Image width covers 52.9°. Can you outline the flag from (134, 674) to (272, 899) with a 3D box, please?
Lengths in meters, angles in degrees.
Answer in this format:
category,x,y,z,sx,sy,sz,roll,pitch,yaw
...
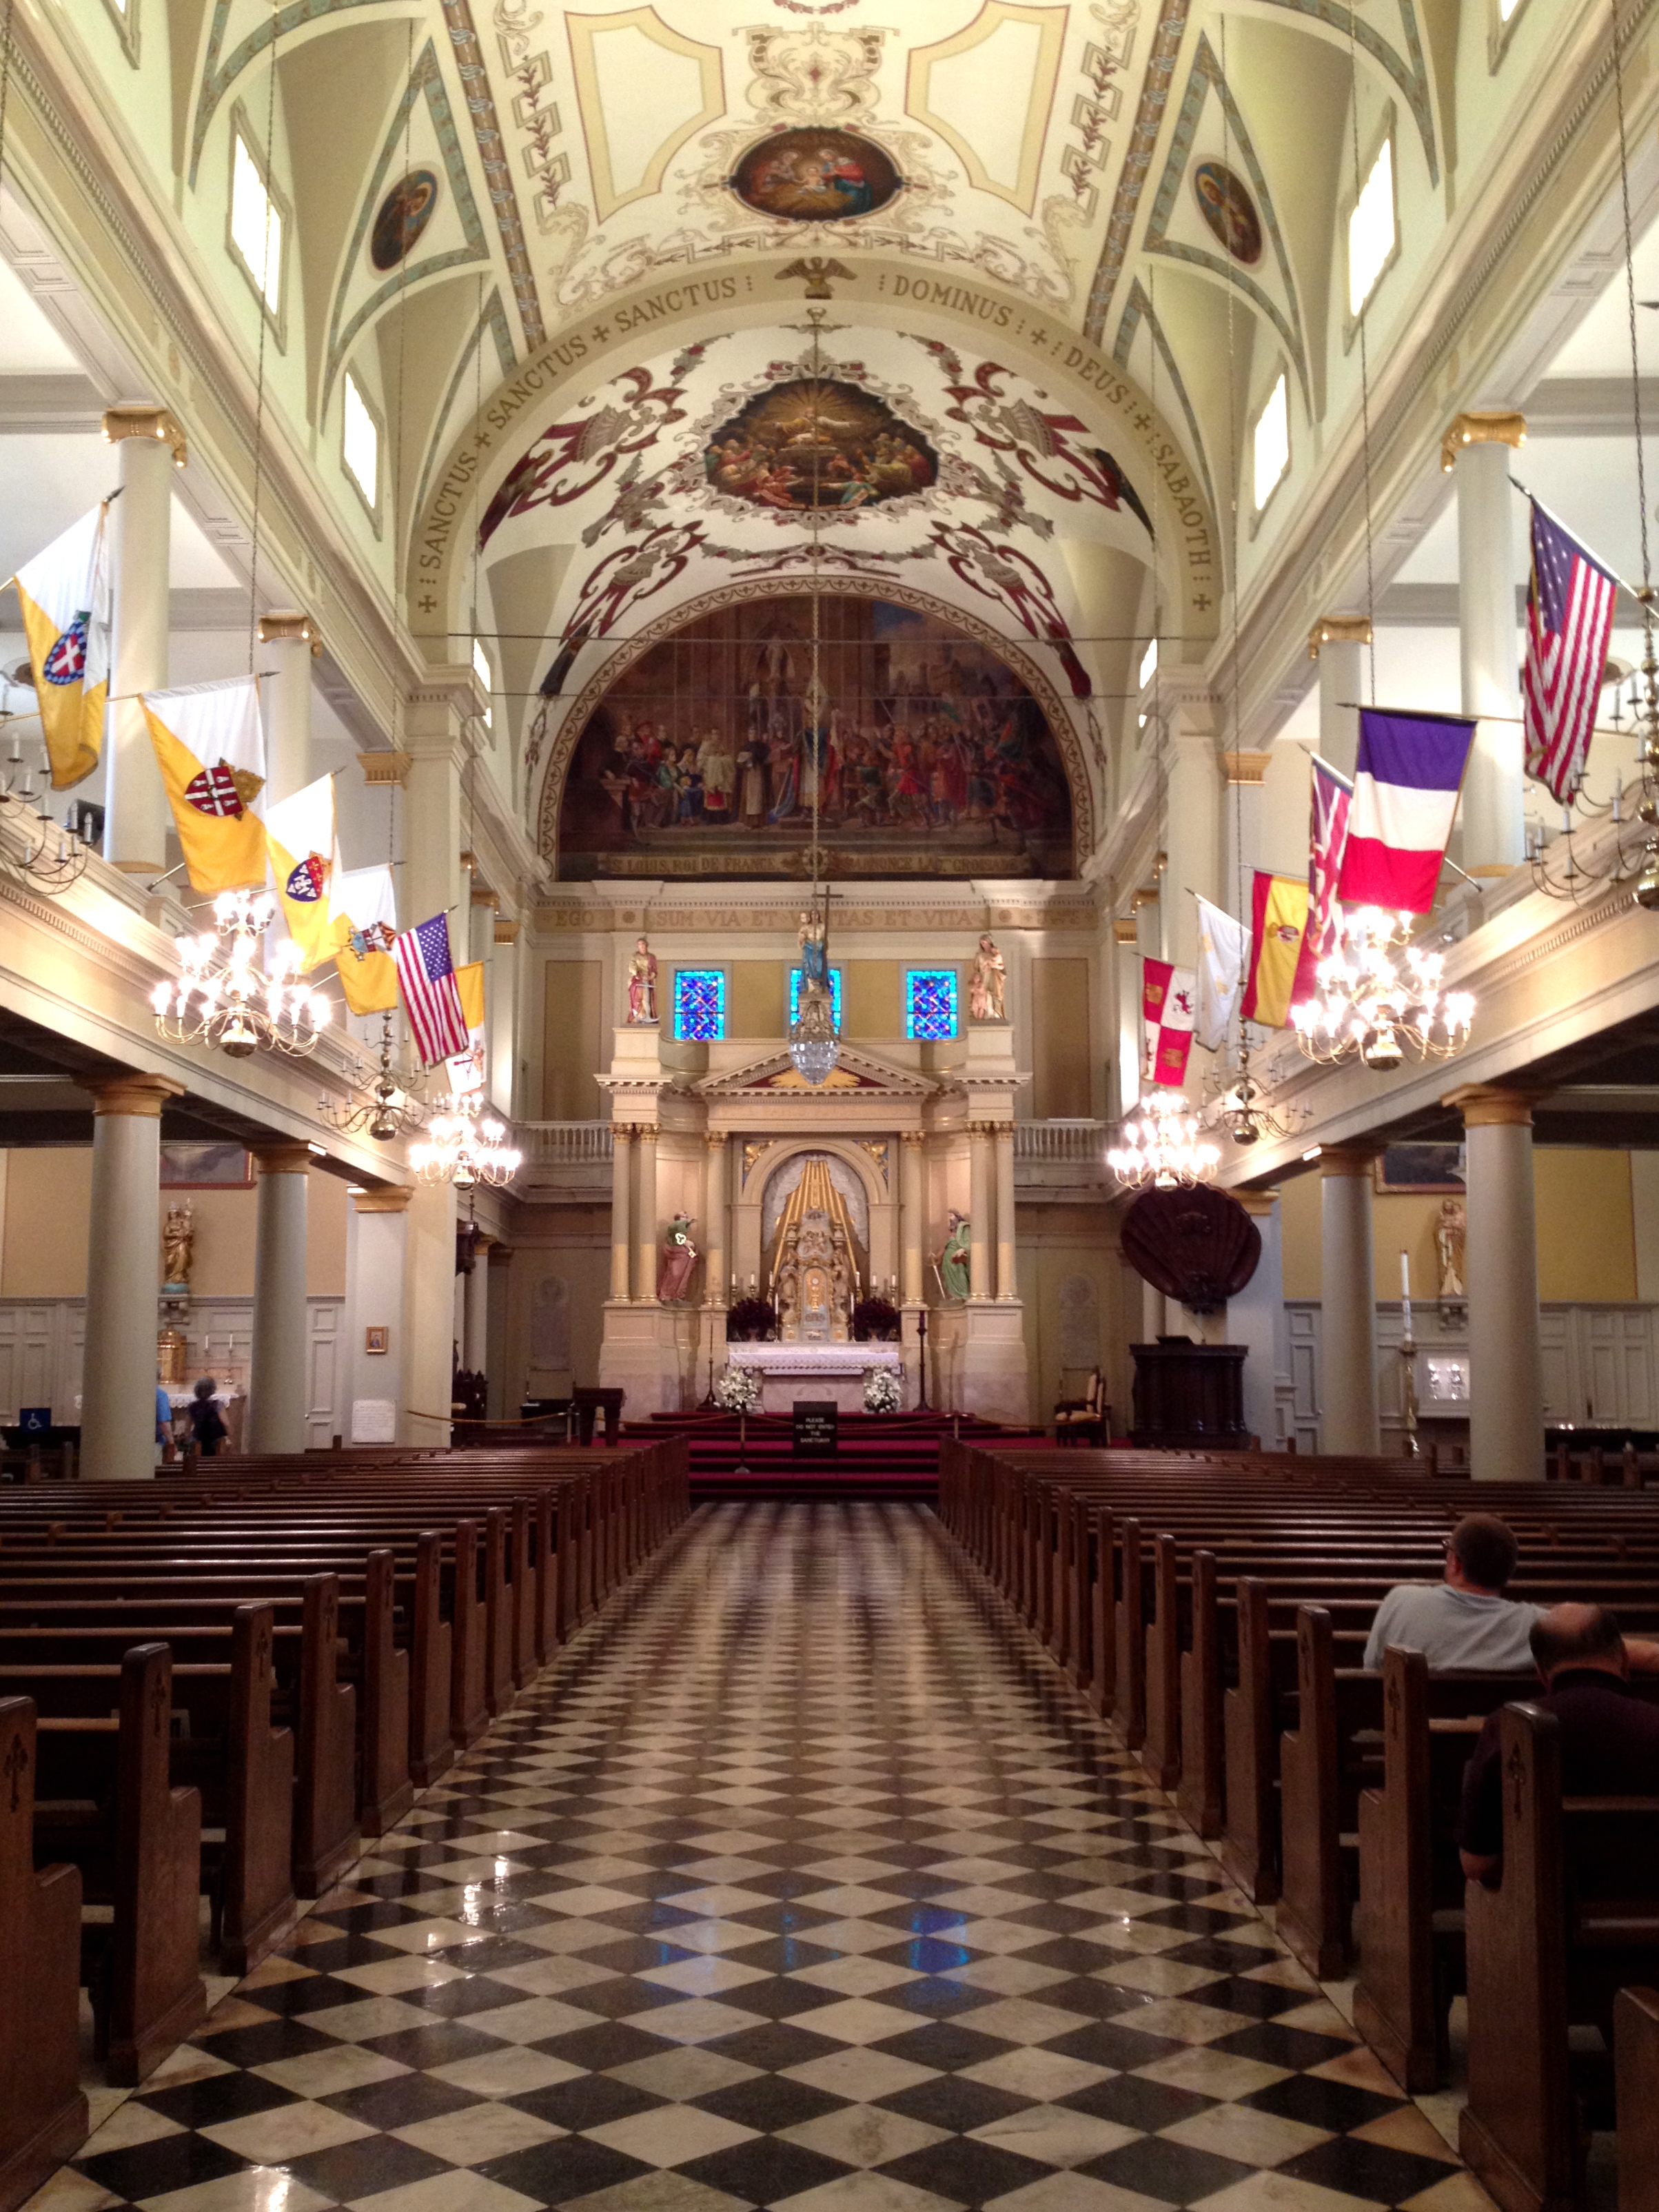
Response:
category,x,y,z,sx,sy,sz,roll,pitch,yaw
flag,-3.883,-1.984,10.521,0.730,1.380,0.117,-9,30,-24

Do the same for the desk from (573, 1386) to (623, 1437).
category,x,y,z,sx,sy,sz,roll,pitch,yaw
desk,-3.291,4.310,23.666,0.580,0.797,0.570,0,-19,-3

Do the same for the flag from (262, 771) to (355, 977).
category,x,y,z,sx,sy,sz,roll,pitch,yaw
flag,-3.676,-1.609,11.928,0.543,0.143,1.456,-5,-52,-9

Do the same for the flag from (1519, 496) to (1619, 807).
category,x,y,z,sx,sy,sz,roll,pitch,yaw
flag,3.834,-2.473,8.694,0.450,1.781,1.019,-5,-12,21
